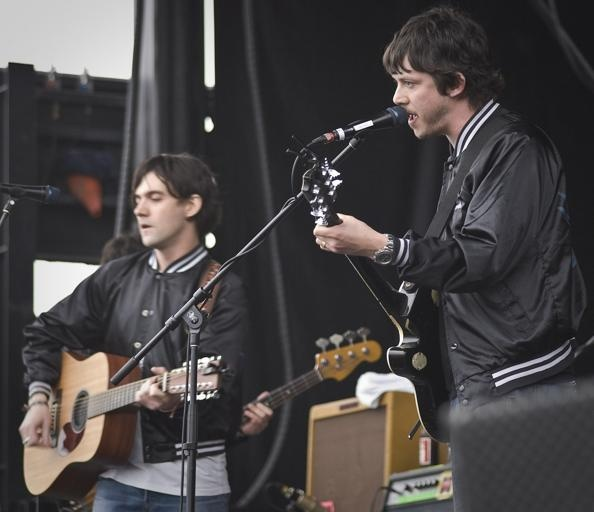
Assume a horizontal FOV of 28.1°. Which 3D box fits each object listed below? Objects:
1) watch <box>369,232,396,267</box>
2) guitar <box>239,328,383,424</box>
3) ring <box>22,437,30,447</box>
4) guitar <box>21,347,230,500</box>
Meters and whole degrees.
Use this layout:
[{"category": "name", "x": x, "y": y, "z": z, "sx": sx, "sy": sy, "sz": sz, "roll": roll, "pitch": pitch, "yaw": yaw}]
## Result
[{"category": "watch", "x": 0.283, "y": -0.020, "z": 3.971, "sx": 0.071, "sy": 0.103, "sz": 0.098, "roll": 24, "pitch": 14, "yaw": -11}, {"category": "guitar", "x": 0.065, "y": 0.503, "z": 5.075, "sx": 0.804, "sy": 0.248, "sz": 0.081, "roll": -28, "pitch": -14, "yaw": 7}, {"category": "ring", "x": -1.107, "y": 0.762, "z": 4.863, "sx": 0.009, "sy": 0.035, "sz": 0.026, "roll": 4, "pitch": 6, "yaw": 9}, {"category": "guitar", "x": -0.848, "y": 0.690, "z": 4.853, "sx": 0.519, "sy": 0.598, "sz": 0.201, "roll": -4, "pitch": -3, "yaw": 26}]
